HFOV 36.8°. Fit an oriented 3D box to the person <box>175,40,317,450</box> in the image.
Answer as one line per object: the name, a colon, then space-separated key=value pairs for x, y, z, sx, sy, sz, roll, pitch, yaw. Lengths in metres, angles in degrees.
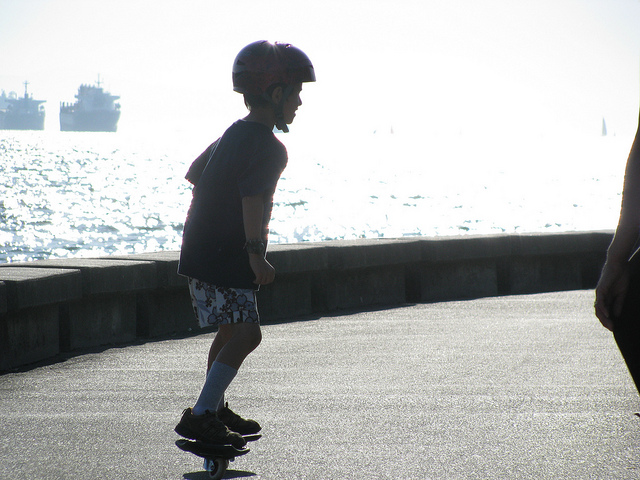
person: x=-0.352 y=0.004 z=4.388 sx=0.607 sy=1.813 sz=0.409 roll=-1 pitch=5 yaw=-4
